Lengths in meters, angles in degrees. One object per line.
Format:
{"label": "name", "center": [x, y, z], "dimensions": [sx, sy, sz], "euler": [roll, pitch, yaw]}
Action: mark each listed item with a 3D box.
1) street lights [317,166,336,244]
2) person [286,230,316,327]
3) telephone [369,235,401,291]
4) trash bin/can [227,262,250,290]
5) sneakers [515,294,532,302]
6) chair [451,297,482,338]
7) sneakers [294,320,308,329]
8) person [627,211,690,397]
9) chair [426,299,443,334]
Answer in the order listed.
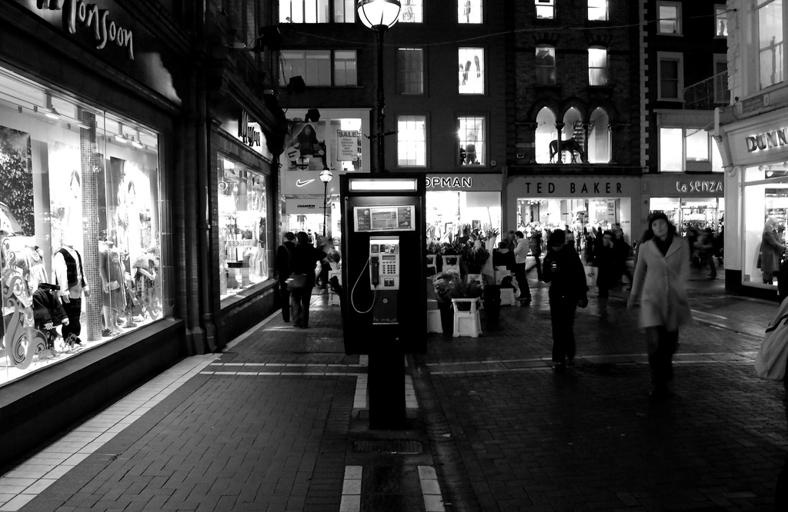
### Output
{"label": "street lights", "center": [-2.622, -1.922, 26.540], "dimensions": [0.611, 2.733, 0.605], "euler": [1, -2, -13]}
{"label": "person", "center": [-2.197, 0.599, 16.731], "dimensions": [0.743, 2.264, 1.034], "euler": [-2, 7, -7]}
{"label": "telephone", "center": [-0.144, 0.080, 9.886], "dimensions": [0.421, 0.764, 0.401], "euler": [-2, 21, -9]}
{"label": "trash bin/can", "center": [-3.770, 0.361, 16.788], "dimensions": [0.445, 0.907, 0.828], "euler": [0, 0, -1]}
{"label": "sneakers", "center": [3.872, 1.268, 20.818], "dimensions": [0.516, 0.245, 0.202], "euler": [2, 1, 7]}
{"label": "chair", "center": [1.551, 1.360, 15.212], "dimensions": [0.726, 1.045, 0.764], "euler": [-3, 2, 9]}
{"label": "sneakers", "center": [-2.203, 1.646, 16.544], "dimensions": [0.237, 0.253, 0.183], "euler": [-1, -4, 7]}
{"label": "person", "center": [4.053, 0.715, 10.706], "dimensions": [0.885, 2.703, 0.724], "euler": [-5, 8, -33]}
{"label": "chair", "center": [0.924, 1.351, 15.560], "dimensions": [0.345, 0.740, 0.277], "euler": [-3, 7, -14]}
